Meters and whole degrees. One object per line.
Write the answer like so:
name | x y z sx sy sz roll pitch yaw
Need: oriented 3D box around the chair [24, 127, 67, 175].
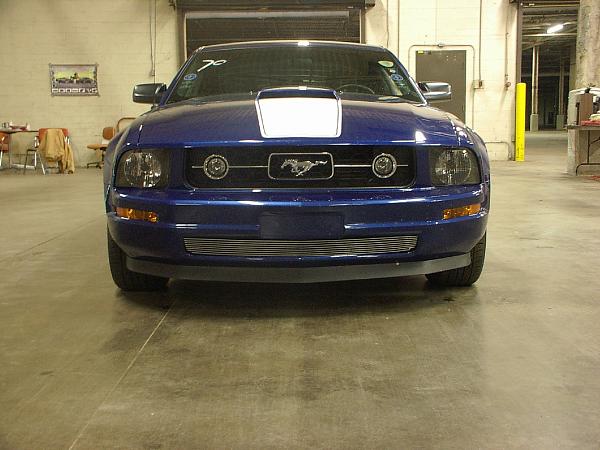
chair | -6.792 -2.057 13.055 1.218 1.135 2.787 -6 13 -23

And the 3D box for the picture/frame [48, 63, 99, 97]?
picture/frame | -6.395 -4.199 13.792 1.305 0.675 0.046 0 4 -2

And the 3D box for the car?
car | 0.048 -0.455 3.412 1.720 0.915 2.411 0 2 0
